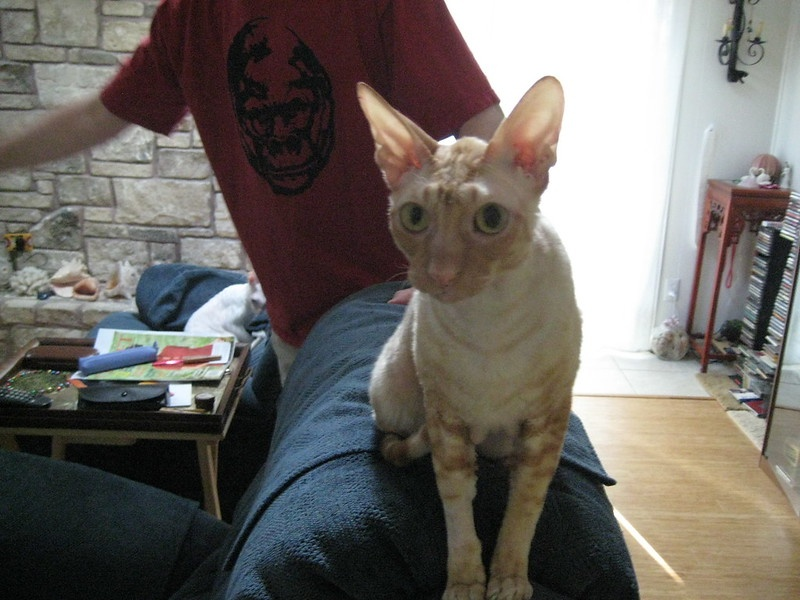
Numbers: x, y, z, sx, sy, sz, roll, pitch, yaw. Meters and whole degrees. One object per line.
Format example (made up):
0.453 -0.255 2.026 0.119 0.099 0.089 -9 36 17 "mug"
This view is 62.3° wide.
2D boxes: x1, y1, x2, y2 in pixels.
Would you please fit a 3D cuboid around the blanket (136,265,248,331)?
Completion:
-0.924 -0.033 2.778 0.307 0.140 0.387 -1 17 2 "blanket"

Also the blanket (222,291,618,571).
0.003 0.225 1.128 0.575 0.248 0.756 0 15 -2 "blanket"
